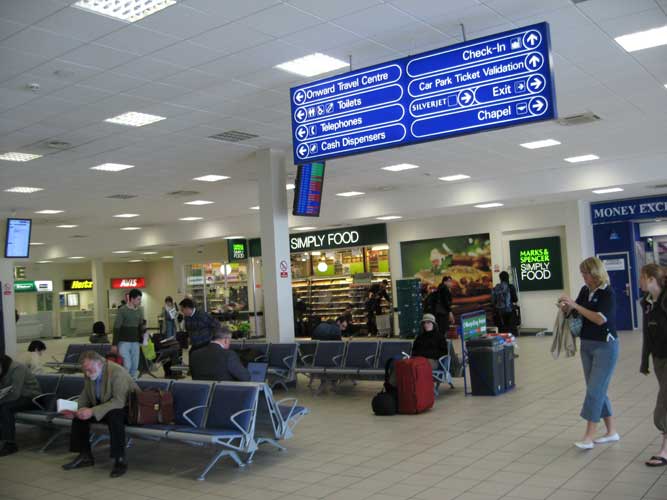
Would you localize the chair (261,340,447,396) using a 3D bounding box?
[{"bbox_3d":[0.005,1.935,8.608,3.558,0.994,0.951,-7,-14,25],"label":"chair"}]

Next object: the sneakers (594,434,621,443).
[{"bbox_3d":[2.935,2.021,5.355,0.296,0.101,0.104,-2,-5,-4],"label":"sneakers"}]

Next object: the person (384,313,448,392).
[{"bbox_3d":[1.323,1.583,7.776,1.187,1.105,1.013,4,-10,-16],"label":"person"}]

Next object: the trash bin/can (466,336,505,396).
[{"bbox_3d":[2.462,1.843,7.908,0.615,0.918,0.492,-5,-4,9],"label":"trash bin/can"}]

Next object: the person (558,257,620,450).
[{"bbox_3d":[2.730,1.082,5.241,0.537,2.000,0.650,-6,-5,28],"label":"person"}]

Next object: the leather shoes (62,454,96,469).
[{"bbox_3d":[-2.894,2.404,5.684,0.336,0.212,0.132,6,-9,-15],"label":"leather shoes"}]

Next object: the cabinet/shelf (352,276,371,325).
[{"bbox_3d":[1.010,1.763,17.980,0.791,1.836,0.363,-5,-4,18],"label":"cabinet/shelf"}]

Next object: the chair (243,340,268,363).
[{"bbox_3d":[-1.420,1.832,9.129,0.383,0.380,0.473,-3,22,5],"label":"chair"}]

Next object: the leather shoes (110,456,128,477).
[{"bbox_3d":[-2.310,2.313,5.320,0.165,0.182,0.153,-2,-5,-24],"label":"leather shoes"}]

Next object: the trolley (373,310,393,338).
[{"bbox_3d":[1.670,2.655,17.423,0.775,0.937,0.708,0,-9,1],"label":"trolley"}]

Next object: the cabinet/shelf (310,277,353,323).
[{"bbox_3d":[-0.035,1.840,18.064,1.714,1.492,0.543,-3,-10,32],"label":"cabinet/shelf"}]

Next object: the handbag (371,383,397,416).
[{"bbox_3d":[0.748,2.213,7.153,0.371,0.305,0.188,-4,-4,0],"label":"handbag"}]

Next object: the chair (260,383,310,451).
[{"bbox_3d":[-0.649,1.796,5.613,0.354,0.709,0.672,-8,-6,42],"label":"chair"}]

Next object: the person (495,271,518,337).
[{"bbox_3d":[4.197,1.365,12.075,0.515,1.280,0.468,-6,-5,26],"label":"person"}]

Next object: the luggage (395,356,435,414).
[{"bbox_3d":[1.207,1.978,7.366,0.425,0.735,0.791,-8,-9,28],"label":"luggage"}]
